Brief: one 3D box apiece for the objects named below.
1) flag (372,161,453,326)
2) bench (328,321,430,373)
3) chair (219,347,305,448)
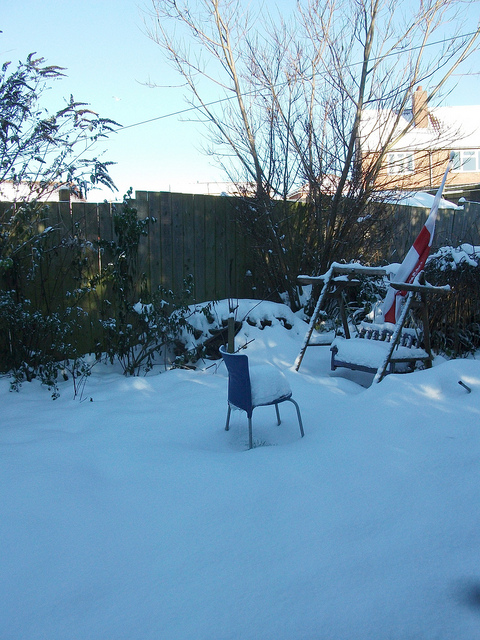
[{"bbox_3d":[1.542,-0.633,4.477,0.611,1.619,1.243,3,11,22],"label":"flag"},{"bbox_3d":[1.267,0.226,4.475,0.854,0.447,1.094,4,12,22],"label":"bench"},{"bbox_3d":[0.121,0.441,2.984,0.421,0.653,0.368,-14,15,-26],"label":"chair"}]
